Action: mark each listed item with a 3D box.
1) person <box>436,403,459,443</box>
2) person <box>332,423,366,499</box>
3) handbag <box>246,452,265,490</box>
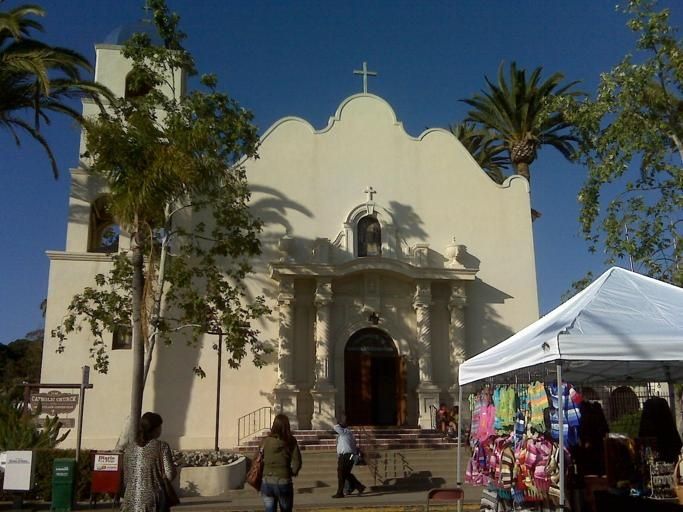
[{"bbox_3d":[3.699,5.936,24.697,0.782,1.311,0.748,-7,-20,18],"label":"person"},{"bbox_3d":[0.189,5.769,19.564,0.829,2.042,0.956,-2,-19,5],"label":"person"},{"bbox_3d":[-1.638,4.011,12.899,0.400,0.603,0.159,16,-5,-40],"label":"handbag"}]
